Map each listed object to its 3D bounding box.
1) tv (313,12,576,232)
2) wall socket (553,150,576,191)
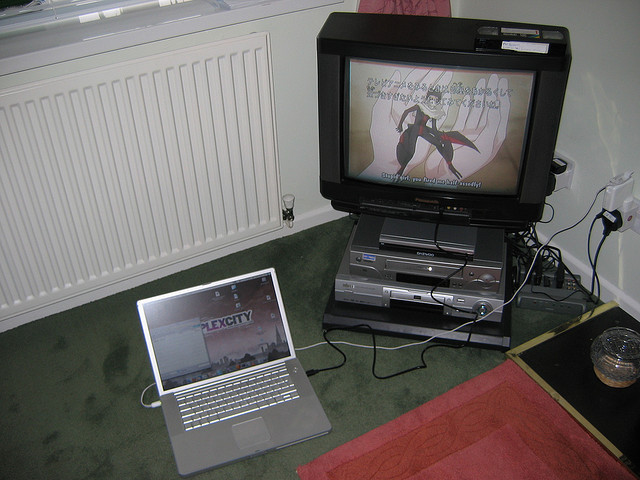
[{"bbox_3d":[0.517,-0.576,2.258,0.978,0.837,0.560,7,44,12],"label":"tv"},{"bbox_3d":[1.110,-0.318,2.379,0.035,0.133,0.137,-12,28,-30],"label":"wall socket"}]
